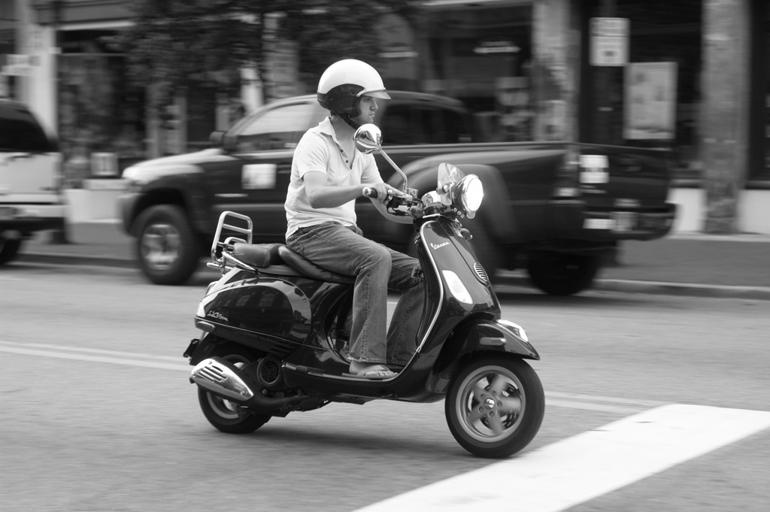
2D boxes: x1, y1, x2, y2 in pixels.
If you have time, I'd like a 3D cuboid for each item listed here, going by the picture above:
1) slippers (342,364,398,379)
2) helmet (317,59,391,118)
[{"bbox_3d":[-0.081,0.707,5.701,0.232,0.062,0.107,-1,-2,12],"label":"slippers"},{"bbox_3d":[-0.180,-1.124,6.116,0.568,0.294,0.338,-1,26,3],"label":"helmet"}]
